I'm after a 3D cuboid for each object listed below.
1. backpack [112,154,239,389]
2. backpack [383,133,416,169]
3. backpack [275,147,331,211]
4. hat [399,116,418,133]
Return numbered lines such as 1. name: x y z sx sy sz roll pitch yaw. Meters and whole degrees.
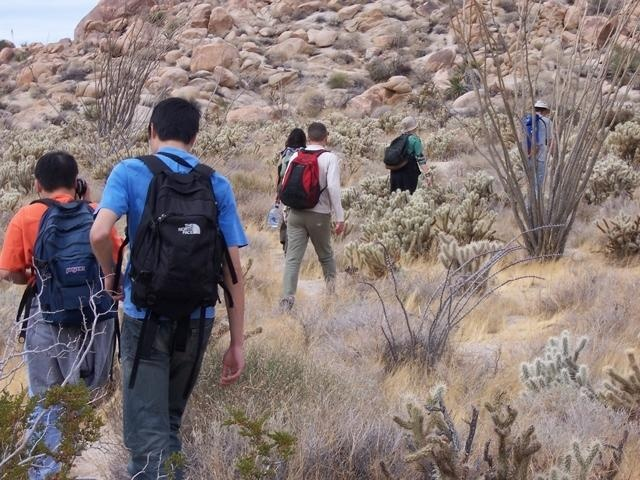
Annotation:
1. backpack: -0.914 -0.005 4.538 0.710 1.082 0.405 -2 9 -18
2. backpack: 1.247 -1.308 10.359 0.371 0.775 0.497 2 5 -34
3. backpack: -0.191 -0.657 7.366 0.460 0.619 0.287 1 9 -1
4. hat: 1.316 -1.723 10.193 0.276 0.280 0.163 5 -33 20
